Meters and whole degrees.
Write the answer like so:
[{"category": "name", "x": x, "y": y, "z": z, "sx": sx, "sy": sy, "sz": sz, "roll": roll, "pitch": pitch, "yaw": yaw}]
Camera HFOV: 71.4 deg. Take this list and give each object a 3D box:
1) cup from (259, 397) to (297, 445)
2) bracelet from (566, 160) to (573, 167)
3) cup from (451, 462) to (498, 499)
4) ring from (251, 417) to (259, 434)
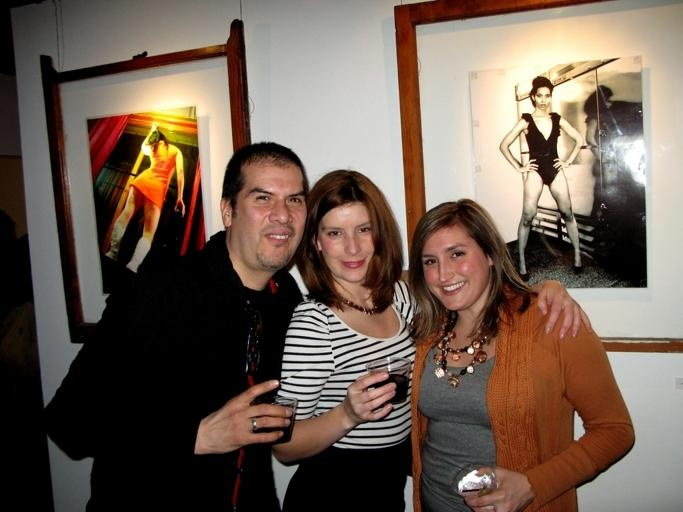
[{"category": "cup", "x": -0.275, "y": 0.742, "z": 2.157, "sx": 0.179, "sy": 0.205, "sz": 0.164, "roll": -6, "pitch": -13, "yaw": -2}, {"category": "bracelet", "x": 1.248, "y": -0.499, "z": 2.624, "sx": 0.045, "sy": 0.017, "sz": 0.018, "roll": -34, "pitch": -16, "yaw": -12}, {"category": "cup", "x": 0.604, "y": 1.003, "z": 2.131, "sx": 0.149, "sy": 0.143, "sz": 0.061, "roll": -3, "pitch": -15, "yaw": 1}, {"category": "ring", "x": -0.370, "y": 0.728, "z": 2.058, "sx": 0.031, "sy": 0.065, "sz": 0.010, "roll": 2, "pitch": 5, "yaw": 29}]
